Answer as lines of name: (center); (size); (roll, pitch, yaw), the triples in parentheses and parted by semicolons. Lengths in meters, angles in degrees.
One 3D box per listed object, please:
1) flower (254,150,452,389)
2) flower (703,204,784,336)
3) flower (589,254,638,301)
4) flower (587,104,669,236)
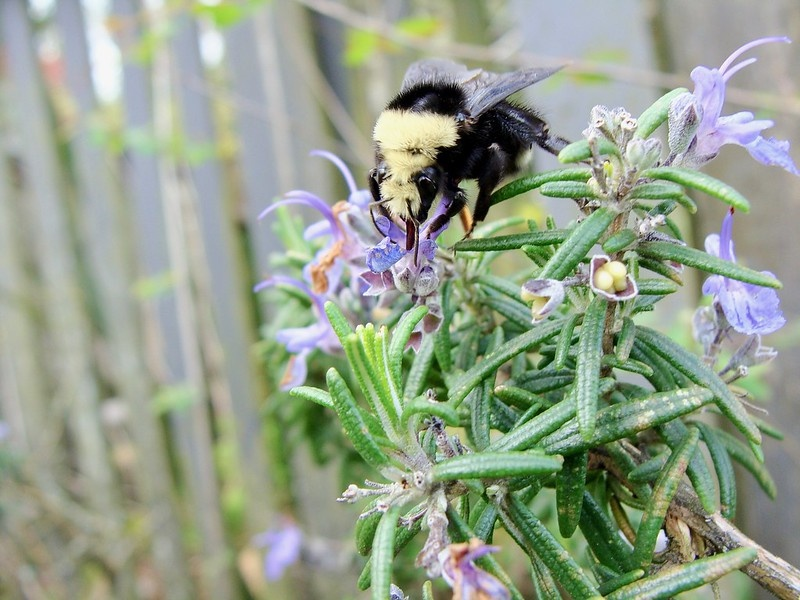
flower: (-0.069, -0.162, 2.055); (0.507, 0.309, 0.545); (-2, 13, 7)
flower: (0.685, -0.044, 1.780); (0.139, 0.300, 0.103); (-19, 11, -3)
flower: (0.396, -0.040, 1.668); (0.087, 0.052, 0.076); (37, 11, 39)
flower: (0.433, -0.257, 1.688); (0.144, 0.242, 0.139); (-6, 13, 5)
